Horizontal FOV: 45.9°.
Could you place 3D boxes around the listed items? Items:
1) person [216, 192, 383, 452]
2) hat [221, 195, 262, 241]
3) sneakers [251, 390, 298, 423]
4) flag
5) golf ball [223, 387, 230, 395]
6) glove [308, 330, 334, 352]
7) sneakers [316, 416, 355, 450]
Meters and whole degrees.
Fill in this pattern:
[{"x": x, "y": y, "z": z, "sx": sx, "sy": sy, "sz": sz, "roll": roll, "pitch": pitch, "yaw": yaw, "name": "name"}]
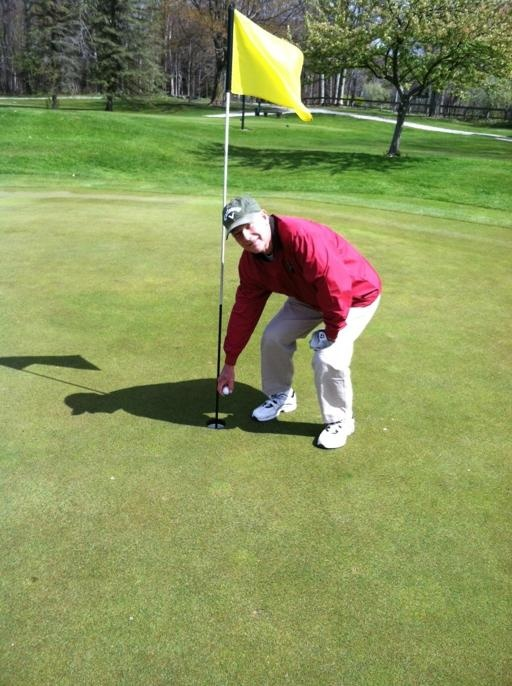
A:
[{"x": 0.241, "y": -0.095, "z": 3.266, "sx": 0.894, "sy": 1.293, "sz": 0.818, "roll": 3, "pitch": 14, "yaw": -3, "name": "person"}, {"x": -0.065, "y": -0.576, "z": 2.796, "sx": 0.168, "sy": 0.183, "sz": 0.181, "roll": 4, "pitch": 14, "yaw": -1, "name": "hat"}, {"x": 0.105, "y": 0.391, "z": 3.730, "sx": 0.329, "sy": 0.137, "sz": 0.123, "roll": -23, "pitch": 43, "yaw": -37, "name": "sneakers"}, {"x": 0.088, "y": -1.732, "z": 3.817, "sx": 0.476, "sy": 0.553, "sz": 0.449, "roll": 5, "pitch": 14, "yaw": 2, "name": "flag"}, {"x": -0.171, "y": 0.276, "z": 3.432, "sx": 0.039, "sy": 0.044, "sz": 0.041, "roll": 0, "pitch": -29, "yaw": 0, "name": "golf ball"}, {"x": 0.315, "y": -0.014, "z": 3.155, "sx": 0.126, "sy": 0.114, "sz": 0.091, "roll": 5, "pitch": -3, "yaw": -36, "name": "glove"}, {"x": 0.435, "y": 0.498, "z": 3.366, "sx": 0.102, "sy": 0.108, "sz": 0.273, "roll": 7, "pitch": 14, "yaw": 35, "name": "sneakers"}]
